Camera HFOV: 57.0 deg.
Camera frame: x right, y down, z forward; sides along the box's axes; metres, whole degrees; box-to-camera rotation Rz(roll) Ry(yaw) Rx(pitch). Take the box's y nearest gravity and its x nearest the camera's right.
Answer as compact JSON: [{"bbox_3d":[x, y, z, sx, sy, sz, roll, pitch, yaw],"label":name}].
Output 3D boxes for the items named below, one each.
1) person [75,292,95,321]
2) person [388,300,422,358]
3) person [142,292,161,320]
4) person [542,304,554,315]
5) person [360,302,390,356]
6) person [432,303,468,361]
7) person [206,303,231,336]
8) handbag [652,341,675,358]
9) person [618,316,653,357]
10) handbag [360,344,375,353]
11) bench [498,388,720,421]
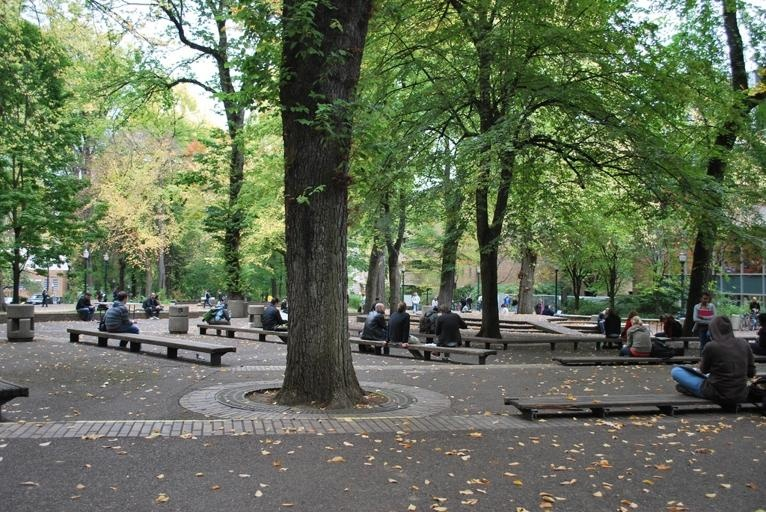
[{"bbox_3d":[-14.633,2.440,34.672,0.818,1.362,1.499,4,-6,-23],"label":"person"},{"bbox_3d":[0.669,2.203,22.907,0.988,1.383,0.934,2,-5,1],"label":"person"},{"bbox_3d":[-12.135,2.613,37.076,0.881,1.296,1.715,3,-5,-18],"label":"person"},{"bbox_3d":[10.966,3.536,46.784,0.381,1.047,0.457,-9,19,-41],"label":"person"},{"bbox_3d":[-0.277,2.349,23.426,0.914,1.632,1.339,2,-5,-2],"label":"person"},{"bbox_3d":[2.119,2.327,22.812,1.012,1.579,1.091,-5,0,-29],"label":"person"},{"bbox_3d":[-6.772,2.565,29.228,1.079,1.136,1.238,2,4,14],"label":"person"},{"bbox_3d":[8.866,2.915,22.214,0.574,0.473,0.539,2,-4,-24],"label":"handbag"},{"bbox_3d":[8.222,2.553,22.645,1.030,1.247,1.045,2,-5,-8],"label":"person"},{"bbox_3d":[-0.500,3.057,23.574,0.206,0.238,0.397,-1,2,-44],"label":"handbag"},{"bbox_3d":[4.942,3.310,15.667,4.660,0.477,0.889,2,-5,-13],"label":"bench"}]
